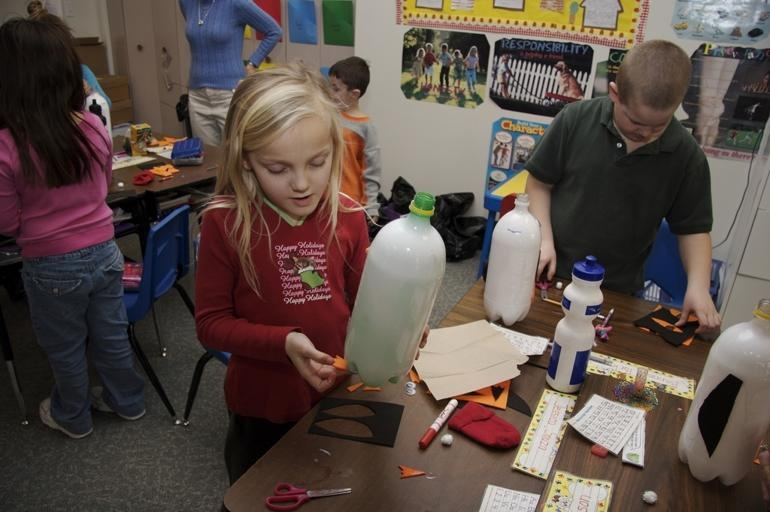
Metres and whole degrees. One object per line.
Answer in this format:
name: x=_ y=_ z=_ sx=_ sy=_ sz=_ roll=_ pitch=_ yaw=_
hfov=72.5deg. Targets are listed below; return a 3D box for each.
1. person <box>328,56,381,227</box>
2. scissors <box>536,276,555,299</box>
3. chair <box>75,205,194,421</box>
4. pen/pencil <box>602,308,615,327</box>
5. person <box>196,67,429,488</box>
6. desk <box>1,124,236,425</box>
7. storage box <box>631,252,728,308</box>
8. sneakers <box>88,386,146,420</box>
person: x=-0.167 y=-0.755 z=3.240 sx=0.384 sy=1.062 sz=0.415 roll=3 pitch=25 yaw=2
scissors: x=0.653 y=0.123 z=2.150 sx=0.052 sy=0.019 sz=0.099 roll=8 pitch=32 yaw=10
chair: x=-1.294 y=0.238 z=2.842 sx=0.512 sy=1.044 sz=0.528 roll=-7 pitch=26 yaw=-30
pen/pencil: x=0.857 y=0.237 z=2.008 sx=0.008 sy=0.011 sz=0.095 roll=-14 pitch=21 yaw=46
person: x=-0.331 y=0.107 z=1.810 sx=0.616 sy=1.367 sz=0.663 roll=19 pitch=30 yaw=29
desk: x=-1.473 y=0.334 z=3.212 sx=1.007 sy=1.891 sz=1.318 roll=7 pitch=27 yaw=7
storage box: x=1.402 y=0.103 z=2.616 sx=0.309 sy=0.458 sz=0.391 roll=9 pitch=9 yaw=24
sneakers: x=-1.408 y=0.782 z=2.776 sx=0.236 sy=0.108 sz=0.083 roll=27 pitch=22 yaw=9
